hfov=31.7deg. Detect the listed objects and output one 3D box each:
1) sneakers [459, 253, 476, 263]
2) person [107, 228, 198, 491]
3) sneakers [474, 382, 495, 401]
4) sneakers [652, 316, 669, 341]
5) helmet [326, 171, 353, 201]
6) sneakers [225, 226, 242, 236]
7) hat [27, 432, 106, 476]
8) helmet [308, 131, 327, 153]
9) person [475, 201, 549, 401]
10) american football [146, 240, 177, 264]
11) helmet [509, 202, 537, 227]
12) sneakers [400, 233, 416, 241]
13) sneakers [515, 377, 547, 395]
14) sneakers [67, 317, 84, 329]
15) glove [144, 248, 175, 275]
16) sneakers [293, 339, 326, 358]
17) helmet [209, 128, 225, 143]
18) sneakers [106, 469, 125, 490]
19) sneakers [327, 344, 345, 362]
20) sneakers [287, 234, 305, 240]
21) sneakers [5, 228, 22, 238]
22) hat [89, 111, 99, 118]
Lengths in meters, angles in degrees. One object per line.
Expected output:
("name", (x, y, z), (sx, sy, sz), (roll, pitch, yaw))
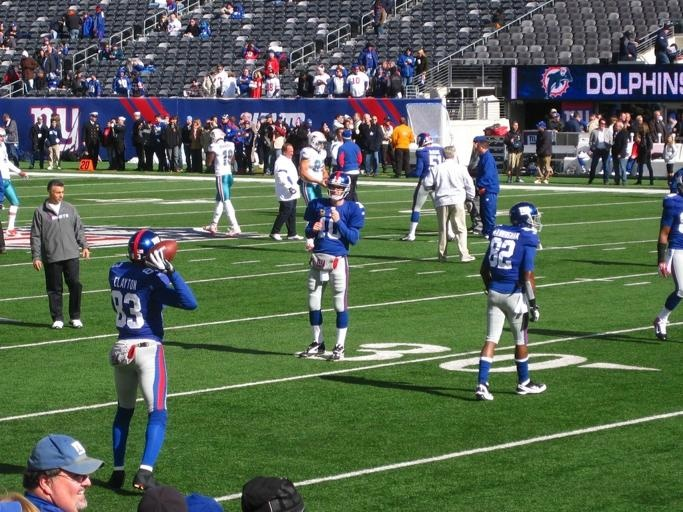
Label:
("sneakers", (2.199, 0.046, 20.968), (0.109, 0.138, 0.294), (-7, 4, -34))
("person", (-1.868, 0.955, 11.244), (0.836, 2.369, 0.741), (5, 9, 43))
("sneakers", (1.571, 1.494, 13.195), (0.113, 0.132, 0.270), (0, -5, 25))
("sneakers", (4.085, 0.913, 15.356), (0.133, 0.374, 0.171), (-3, 4, 3))
("helmet", (-0.025, -0.854, 14.730), (0.278, 0.341, 0.280), (0, 7, 14))
("sneakers", (-2.169, -0.511, 24.565), (0.161, 0.148, 0.314), (1, -7, -15))
("hat", (-1.968, 1.423, 8.663), (0.412, 0.215, 0.284), (6, 2, -1))
("helmet", (-0.503, -2.147, 22.705), (0.374, 0.363, 0.301), (-1, 11, 22))
("person", (1.857, 0.501, 13.189), (0.740, 2.140, 0.581), (0, 7, 8))
("american football", (-1.680, -0.035, 11.267), (0.244, 0.158, 0.171), (-15, 16, -7))
("helmet", (2.024, -0.453, 13.200), (0.290, 0.233, 0.228), (0, 14, -6))
("sneakers", (1.328, -0.363, 23.555), (0.223, 0.101, 0.125), (3, 3, 40))
("sneakers", (2.119, 1.438, 13.409), (0.337, 0.156, 0.135), (-5, 17, -5))
("sneakers", (-3.560, 0.912, 16.227), (0.085, 0.097, 0.227), (-3, 0, -30))
("glove", (-1.692, 0.035, 11.199), (0.257, 0.231, 0.120), (-2, 7, -9))
("sneakers", (-0.394, 1.161, 14.887), (0.415, 0.191, 0.155), (0, 6, 1))
("helmet", (-2.499, -2.493, 24.617), (0.302, 0.251, 0.291), (-24, -5, -10))
("sneakers", (-2.088, 2.080, 11.201), (0.195, 0.195, 0.119), (8, 3, 5))
("sneakers", (-0.059, 1.171, 14.726), (0.192, 0.216, 0.155), (-2, 7, -4))
("sneakers", (-0.887, -0.365, 23.986), (0.234, 0.095, 0.130), (-2, 5, 27))
("sneakers", (-6.718, -0.472, 24.638), (0.187, 0.173, 0.400), (1, 0, -35))
("hat", (-8.953, -5.112, 43.528), (0.369, 0.174, 0.472), (-3, 10, -12))
